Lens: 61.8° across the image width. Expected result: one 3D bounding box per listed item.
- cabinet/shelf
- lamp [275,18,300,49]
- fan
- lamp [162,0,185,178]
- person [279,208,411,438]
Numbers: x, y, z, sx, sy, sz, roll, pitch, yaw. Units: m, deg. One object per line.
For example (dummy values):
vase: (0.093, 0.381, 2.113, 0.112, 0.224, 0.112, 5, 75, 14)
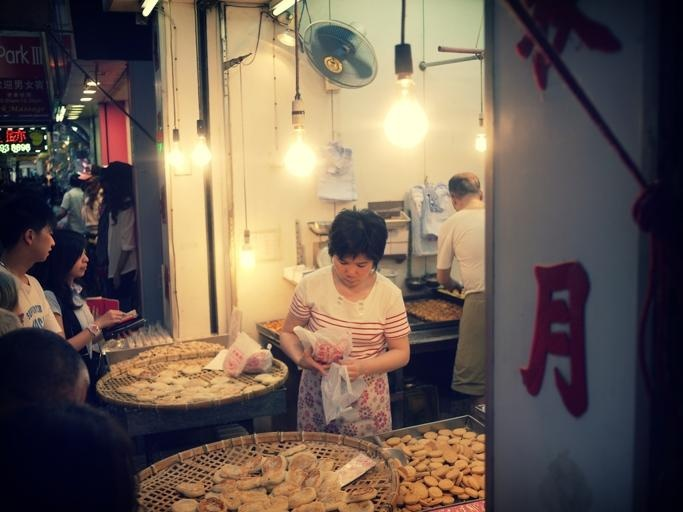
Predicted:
cabinet/shelf: (-1.226, -1.501, 4.943, 0.195, 1.481, 0.631, -4, 6, -13)
lamp: (-0.501, -1.964, 5.210, 0.197, 0.157, 0.297, 6, -38, -11)
fan: (-0.079, -1.560, 4.367, 0.484, 0.163, 0.532, -11, 10, 6)
lamp: (-1.477, -1.482, 4.983, 0.147, 1.524, 0.380, -4, 6, -16)
person: (0.004, 0.715, 3.270, 0.675, 1.904, 0.683, 5, 20, 9)
